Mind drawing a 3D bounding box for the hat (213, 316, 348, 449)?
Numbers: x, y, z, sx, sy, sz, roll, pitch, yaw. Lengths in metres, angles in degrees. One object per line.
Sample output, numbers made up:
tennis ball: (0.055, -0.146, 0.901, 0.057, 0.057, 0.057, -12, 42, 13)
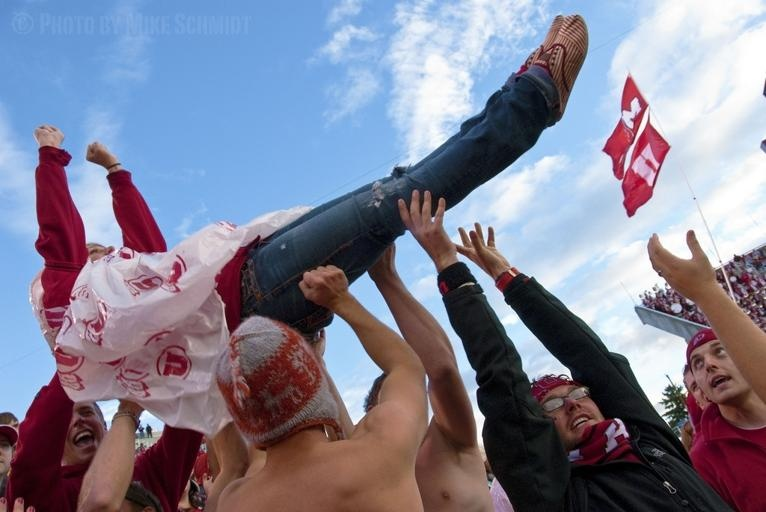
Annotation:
hat: (-0.573, 0.620, 2.635, 0.497, 0.699, 0.609, -40, -47, -1)
